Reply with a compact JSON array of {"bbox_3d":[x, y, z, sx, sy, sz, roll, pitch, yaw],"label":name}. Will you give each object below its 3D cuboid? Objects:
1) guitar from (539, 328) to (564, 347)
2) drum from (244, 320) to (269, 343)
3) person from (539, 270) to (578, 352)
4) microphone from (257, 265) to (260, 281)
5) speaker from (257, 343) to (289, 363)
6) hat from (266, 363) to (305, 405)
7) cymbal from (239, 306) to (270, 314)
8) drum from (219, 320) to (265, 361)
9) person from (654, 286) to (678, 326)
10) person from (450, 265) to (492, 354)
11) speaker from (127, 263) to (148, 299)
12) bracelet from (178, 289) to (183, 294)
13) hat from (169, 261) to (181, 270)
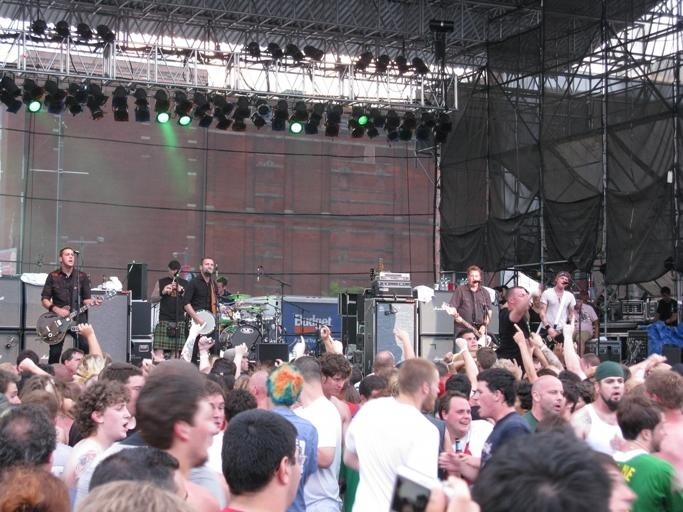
[{"bbox_3d":[3.270,1.243,18.757,0.489,0.164,0.198,4,-40,22],"label":"guitar"},{"bbox_3d":[-1.617,1.474,24.029,0.413,0.425,0.443,-5,2,-16],"label":"drum"},{"bbox_3d":[3.447,1.062,19.043,0.533,1.583,0.495,-1,15,-16],"label":"person"},{"bbox_3d":[-2.167,0.453,31.501,0.072,0.423,0.240,2,-4,7],"label":"microphone"},{"bbox_3d":[-1.137,1.616,20.608,0.576,0.396,0.307,4,-8,-26],"label":"speaker"},{"bbox_3d":[-0.675,1.525,14.464,0.371,0.513,0.445,2,3,6],"label":"hat"},{"bbox_3d":[-1.756,1.061,24.367,0.758,0.133,0.382,2,-1,-32],"label":"cymbal"},{"bbox_3d":[-1.902,1.553,23.541,0.891,0.909,0.596,4,-1,-22],"label":"drum"},{"bbox_3d":[6.234,0.931,23.111,0.369,0.690,1.586,1,-1,14],"label":"person"},{"bbox_3d":[2.304,0.727,20.978,0.582,0.372,1.307,7,40,-1],"label":"person"},{"bbox_3d":[-4.099,0.499,24.223,0.354,0.612,0.922,2,-1,-12],"label":"speaker"},{"bbox_3d":[-2.870,0.620,21.681,0.118,0.078,0.057,2,-1,-11],"label":"bracelet"},{"bbox_3d":[-3.012,0.193,21.718,0.179,0.232,0.252,1,12,-3],"label":"hat"}]
